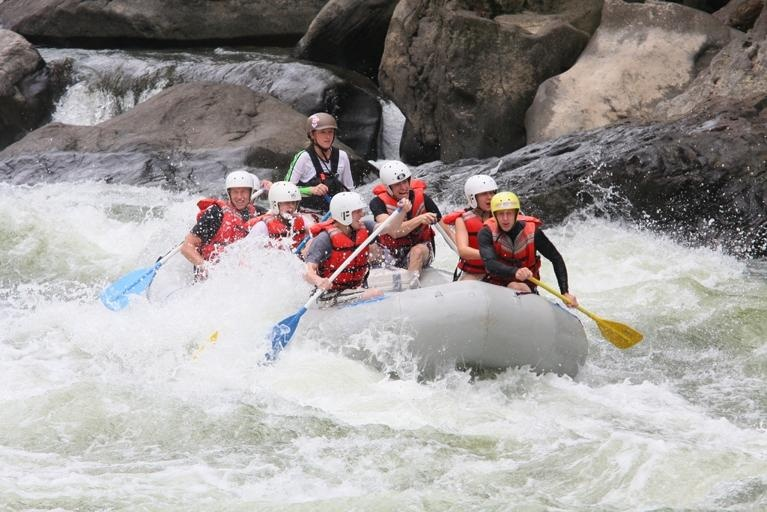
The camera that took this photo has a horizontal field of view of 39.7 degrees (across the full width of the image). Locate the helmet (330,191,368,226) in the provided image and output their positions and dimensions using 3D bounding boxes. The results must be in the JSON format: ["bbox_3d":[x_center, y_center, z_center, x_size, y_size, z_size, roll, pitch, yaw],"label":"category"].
[{"bbox_3d":[-0.470,-0.629,14.004,0.480,0.376,0.356,-5,16,6],"label":"helmet"}]

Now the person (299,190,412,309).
[{"bbox_3d":[-0.352,0.034,14.270,1.622,1.788,1.130,-8,16,-42],"label":"person"}]

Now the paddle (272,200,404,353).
[{"bbox_3d":[-0.572,0.339,14.100,0.309,2.761,0.292,49,-7,0],"label":"paddle"}]

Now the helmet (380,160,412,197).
[{"bbox_3d":[0.192,-1.114,14.705,0.395,0.424,0.451,-27,18,-24],"label":"helmet"}]

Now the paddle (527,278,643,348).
[{"bbox_3d":[2.750,0.811,14.434,1.943,0.278,0.076,30,-8,-22],"label":"paddle"}]

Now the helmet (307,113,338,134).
[{"bbox_3d":[-0.926,-1.945,15.551,0.366,0.170,0.262,-3,5,32],"label":"helmet"}]

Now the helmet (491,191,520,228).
[{"bbox_3d":[1.590,-0.610,13.828,0.353,0.445,0.465,-5,-3,9],"label":"helmet"}]

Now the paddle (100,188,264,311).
[{"bbox_3d":[-2.928,-0.031,15.411,0.458,2.764,0.178,49,1,4],"label":"paddle"}]

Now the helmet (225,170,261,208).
[{"bbox_3d":[-2.009,-0.985,15.184,0.456,0.520,0.573,2,2,-7],"label":"helmet"}]

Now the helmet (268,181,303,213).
[{"bbox_3d":[-1.393,-0.847,14.848,0.337,0.328,0.436,-16,32,-40],"label":"helmet"}]
